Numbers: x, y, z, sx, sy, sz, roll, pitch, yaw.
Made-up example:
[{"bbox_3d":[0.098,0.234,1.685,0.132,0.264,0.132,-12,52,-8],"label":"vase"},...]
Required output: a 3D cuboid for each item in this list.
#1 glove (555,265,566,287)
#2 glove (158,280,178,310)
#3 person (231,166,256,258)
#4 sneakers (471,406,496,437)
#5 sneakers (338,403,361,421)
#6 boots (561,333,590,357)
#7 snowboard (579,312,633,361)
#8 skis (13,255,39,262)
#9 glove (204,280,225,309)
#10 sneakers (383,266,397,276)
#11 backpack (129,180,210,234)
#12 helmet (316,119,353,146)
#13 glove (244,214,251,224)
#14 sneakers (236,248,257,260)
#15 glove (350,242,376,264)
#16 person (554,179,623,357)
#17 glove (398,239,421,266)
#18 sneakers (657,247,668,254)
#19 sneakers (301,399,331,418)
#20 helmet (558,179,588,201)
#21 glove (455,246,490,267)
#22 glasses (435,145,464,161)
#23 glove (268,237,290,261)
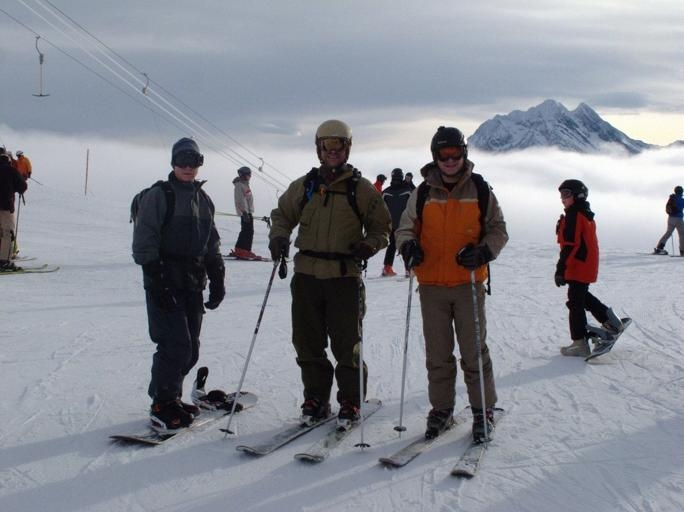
[{"bbox_3d":[2.350,0.229,6.314,0.103,0.212,0.176,6,11,27],"label":"glove"},{"bbox_3d":[-1.322,0.312,4.464,0.170,0.165,0.045,-7,-1,-25],"label":"glove"},{"bbox_3d":[-2.257,-0.955,13.490,0.483,2.153,1.227,-1,10,-11],"label":"person"},{"bbox_3d":[1.082,1.262,4.488,0.107,0.135,0.323,-1,12,13],"label":"sneakers"},{"bbox_3d":[0.056,1.224,4.701,0.117,0.145,0.149,1,19,-21],"label":"sneakers"},{"bbox_3d":[2.527,0.991,6.423,0.295,0.196,0.177,5,-6,9],"label":"boots"},{"bbox_3d":[2.861,0.894,6.399,0.571,0.261,0.185,-38,12,-13],"label":"snowboard"},{"bbox_3d":[-6.398,0.063,11.885,0.531,0.079,0.142,4,45,21],"label":"skis"},{"bbox_3d":[-1.051,0.317,4.939,0.177,0.238,0.080,13,6,21],"label":"glove"},{"bbox_3d":[0.933,0.302,12.007,0.315,0.293,0.152,-5,9,-45],"label":"sneakers"},{"bbox_3d":[-1.319,-0.360,4.510,0.501,0.526,0.337,1,6,-25],"label":"backpack"},{"bbox_3d":[-0.064,-0.993,4.702,0.274,0.169,0.327,1,10,-3],"label":"helmet"},{"bbox_3d":[-2.125,-0.837,13.140,0.126,0.176,0.098,22,51,2],"label":"glove"},{"bbox_3d":[-2.295,-0.048,13.931,0.353,0.133,0.262,1,6,-39],"label":"sneakers"},{"bbox_3d":[0.158,-0.039,4.697,0.178,0.069,0.133,1,-33,31],"label":"glove"},{"bbox_3d":[2.597,0.143,6.250,0.694,1.870,0.524,6,11,23],"label":"person"},{"bbox_3d":[0.538,-0.016,4.643,0.187,0.146,0.206,26,-6,-6],"label":"glove"},{"bbox_3d":[8.567,-0.130,15.762,0.330,0.217,0.104,-7,18,-32],"label":"sneakers"},{"bbox_3d":[-0.212,1.235,4.793,0.098,0.123,0.294,5,9,26],"label":"sneakers"},{"bbox_3d":[2.439,-0.693,6.191,0.269,0.212,0.175,4,10,13],"label":"helmet"},{"bbox_3d":[0.991,-0.008,4.445,0.182,0.183,0.090,-34,22,12],"label":"glove"},{"bbox_3d":[0.846,-0.788,4.569,0.123,0.053,0.135,-6,-23,7],"label":"glasses"},{"bbox_3d":[-0.505,-0.075,4.887,0.151,0.194,0.181,0,44,0],"label":"glove"}]
